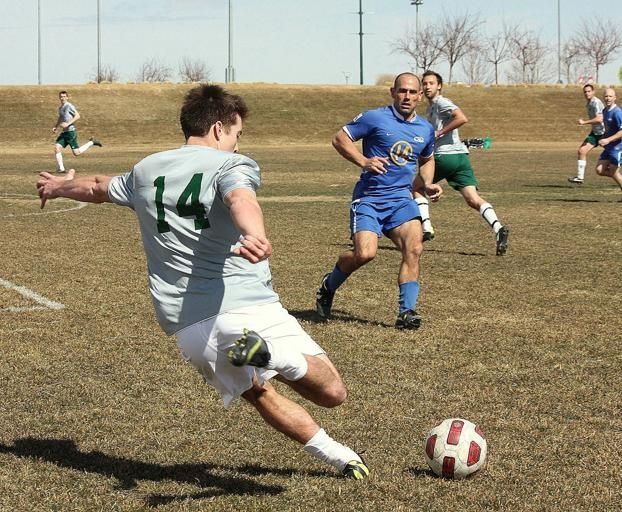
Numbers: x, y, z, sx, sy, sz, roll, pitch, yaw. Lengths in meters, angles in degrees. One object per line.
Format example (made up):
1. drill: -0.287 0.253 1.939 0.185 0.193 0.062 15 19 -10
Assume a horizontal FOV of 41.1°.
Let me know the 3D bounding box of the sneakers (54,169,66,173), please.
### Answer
1. sneakers: -6.221 -2.061 20.300 0.322 0.111 0.108 4 6 6

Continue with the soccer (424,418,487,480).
1. soccer: 0.871 1.148 4.972 0.372 0.305 0.338 0 -2 4

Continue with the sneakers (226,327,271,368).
1. sneakers: -0.306 0.501 4.367 0.173 0.253 0.276 5 10 21

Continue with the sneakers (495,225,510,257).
1. sneakers: 2.258 -0.172 9.840 0.151 0.349 0.191 1 11 5

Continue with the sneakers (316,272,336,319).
1. sneakers: 0.111 0.367 7.596 0.156 0.394 0.185 0 8 -6

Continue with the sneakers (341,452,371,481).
1. sneakers: 0.261 1.249 4.927 0.120 0.064 0.148 3 31 -12

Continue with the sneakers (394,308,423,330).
1. sneakers: 0.856 0.563 7.207 0.129 0.120 0.256 1 2 -13
